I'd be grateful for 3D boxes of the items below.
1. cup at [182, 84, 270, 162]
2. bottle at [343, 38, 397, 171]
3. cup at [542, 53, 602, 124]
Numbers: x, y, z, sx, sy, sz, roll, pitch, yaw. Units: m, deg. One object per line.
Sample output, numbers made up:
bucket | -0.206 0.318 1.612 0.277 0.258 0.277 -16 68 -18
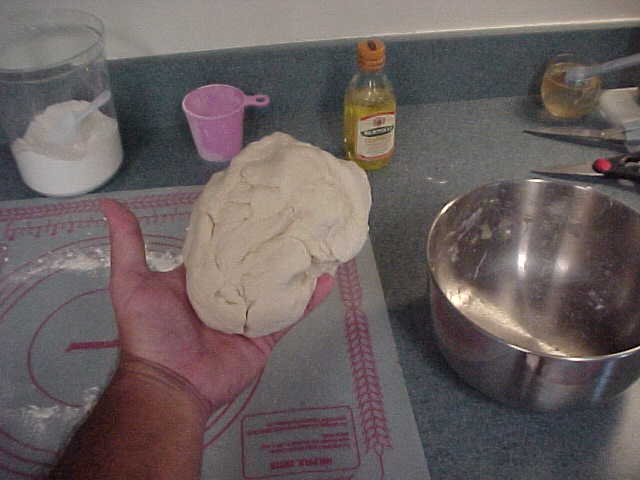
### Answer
cup | -0.237 -0.324 1.643 0.241 0.162 0.157 -10 48 -9
bottle | 0.127 -0.344 1.534 0.131 0.319 0.159 -1 48 1
cup | 0.720 -0.437 1.694 0.185 0.153 0.132 7 49 7
